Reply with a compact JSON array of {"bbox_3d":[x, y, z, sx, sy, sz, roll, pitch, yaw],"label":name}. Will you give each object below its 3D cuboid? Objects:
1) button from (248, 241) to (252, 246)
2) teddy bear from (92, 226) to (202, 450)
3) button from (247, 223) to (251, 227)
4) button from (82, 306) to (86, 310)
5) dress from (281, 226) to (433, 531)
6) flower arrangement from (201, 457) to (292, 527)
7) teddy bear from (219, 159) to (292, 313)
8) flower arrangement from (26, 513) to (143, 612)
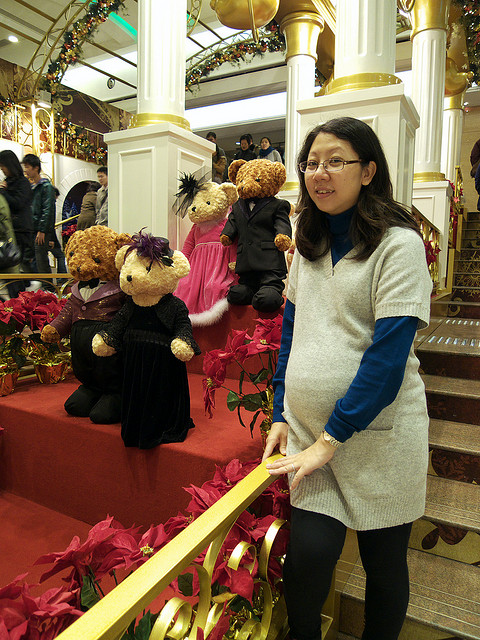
[{"bbox_3d":[0.059,-0.483,2.783,0.022,0.028,0.011,-1,-11,17],"label":"button"},{"bbox_3d":[-0.392,0.073,1.822,0.408,0.850,0.378,-3,10,-18],"label":"teddy bear"},{"bbox_3d":[0.056,-0.603,2.804,0.026,0.023,0.008,6,-1,8],"label":"button"},{"bbox_3d":[-0.764,-0.060,2.165,0.017,0.015,0.004,12,-6,6],"label":"button"},{"bbox_3d":[0.245,0.112,1.001,0.349,0.633,0.266,5,11,25],"label":"dress"},{"bbox_3d":[-0.009,0.497,1.250,0.226,0.154,0.206,15,-38,-44],"label":"flower arrangement"},{"bbox_3d":[0.086,-0.535,2.774,0.458,0.939,0.449,2,10,10],"label":"teddy bear"},{"bbox_3d":[-0.320,0.478,0.852,0.106,0.091,0.108,-3,-11,-38],"label":"flower arrangement"}]
